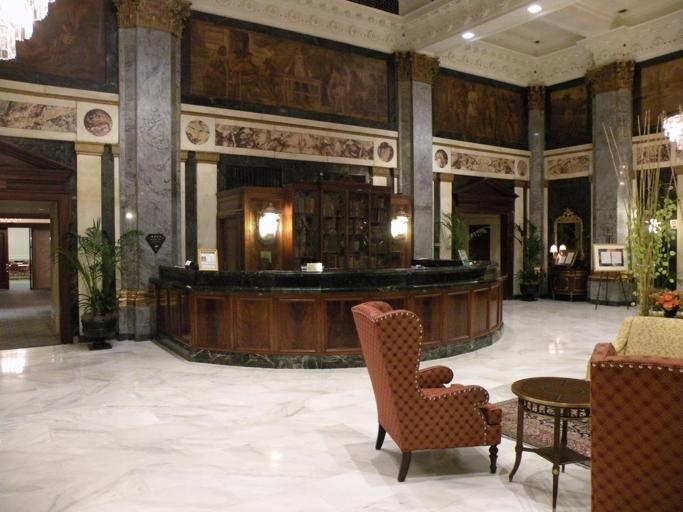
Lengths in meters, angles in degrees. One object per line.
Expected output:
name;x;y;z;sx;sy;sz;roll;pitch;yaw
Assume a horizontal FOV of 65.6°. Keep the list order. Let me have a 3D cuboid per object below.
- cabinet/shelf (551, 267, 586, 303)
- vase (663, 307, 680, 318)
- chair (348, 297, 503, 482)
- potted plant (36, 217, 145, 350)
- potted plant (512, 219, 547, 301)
cabinet/shelf;6.644;0.703;15.465;0.779;1.118;1.312;-2;3;-22
vase;4.349;0.742;6.954;0.316;0.118;0.249;1;-2;-34
chair;0.818;1.255;5.182;1.232;1.452;1.079;-1;0;-6
potted plant;-4.352;0.491;9.564;1.153;2.222;1.049;3;6;32
potted plant;5.632;0.124;15.644;0.912;2.288;0.719;-3;6;-26
